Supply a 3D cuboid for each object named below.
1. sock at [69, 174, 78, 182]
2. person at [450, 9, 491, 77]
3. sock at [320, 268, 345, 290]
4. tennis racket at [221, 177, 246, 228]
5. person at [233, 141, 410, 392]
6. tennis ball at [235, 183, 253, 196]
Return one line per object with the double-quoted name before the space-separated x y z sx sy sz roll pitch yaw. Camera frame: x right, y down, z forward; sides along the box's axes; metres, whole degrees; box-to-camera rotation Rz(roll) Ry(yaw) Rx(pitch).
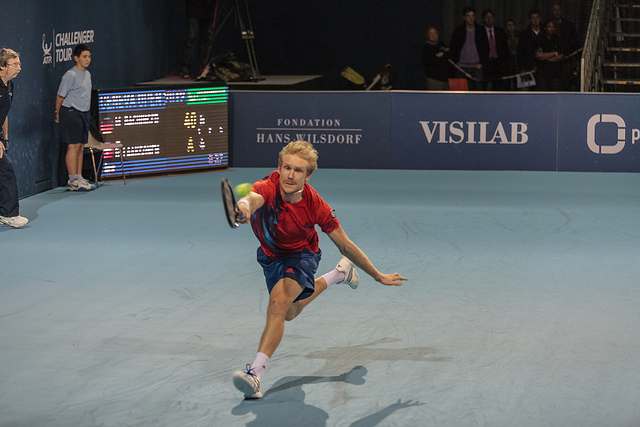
"sock" -5.089 -0.755 10.348 0.174 0.138 0.128 -1 5 -17
"person" 4.173 -4.774 14.009 1.061 1.746 0.533 3 17 9
"sock" 0.110 0.538 4.276 0.116 0.076 0.257 4 8 30
"tennis racket" -0.490 -0.081 2.841 0.130 0.253 0.367 -3 14 -10
"person" -0.226 0.310 3.624 1.245 1.654 0.604 -13 21 -40
"tennis ball" -0.490 -0.154 3.188 0.104 0.049 0.094 -6 4 -23
